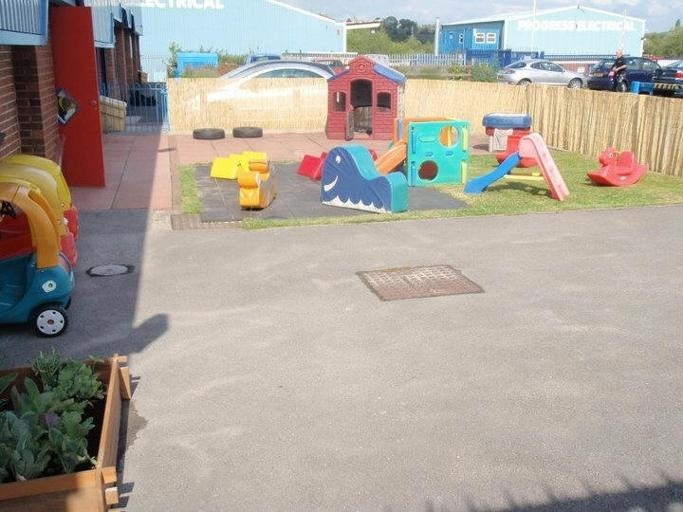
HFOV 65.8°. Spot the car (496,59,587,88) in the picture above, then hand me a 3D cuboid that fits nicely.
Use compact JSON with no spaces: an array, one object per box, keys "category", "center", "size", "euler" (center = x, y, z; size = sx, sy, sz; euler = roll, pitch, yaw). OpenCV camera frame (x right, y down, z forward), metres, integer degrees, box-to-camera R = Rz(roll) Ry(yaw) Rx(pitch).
[{"category":"car","center":[12.850,-11.638,33.393],"size":[5.269,1.465,1.309],"euler":[-5,19,-19]}]

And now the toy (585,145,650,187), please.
[{"category":"toy","center":[7.145,-2.299,13.638],"size":[1.652,0.903,0.984],"euler":[-14,24,-40]}]

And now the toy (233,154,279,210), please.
[{"category":"toy","center":[-1.831,-1.570,11.386],"size":[0.629,0.950,1.081],"euler":[2,18,0]}]
